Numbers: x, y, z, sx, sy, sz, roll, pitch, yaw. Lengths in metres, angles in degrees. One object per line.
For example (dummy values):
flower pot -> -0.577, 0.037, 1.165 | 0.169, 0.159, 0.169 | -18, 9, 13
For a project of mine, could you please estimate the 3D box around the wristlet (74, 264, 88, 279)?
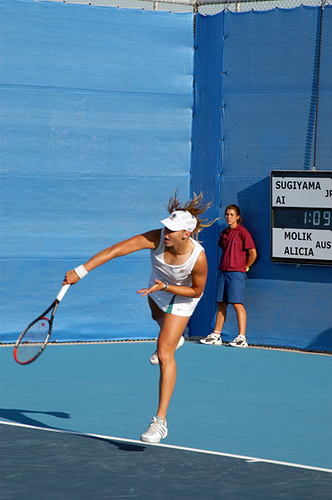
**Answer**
wristlet -> -0.519, 0.128, 3.791 | 0.068, 0.073, 0.089 | -43, 6, -3
